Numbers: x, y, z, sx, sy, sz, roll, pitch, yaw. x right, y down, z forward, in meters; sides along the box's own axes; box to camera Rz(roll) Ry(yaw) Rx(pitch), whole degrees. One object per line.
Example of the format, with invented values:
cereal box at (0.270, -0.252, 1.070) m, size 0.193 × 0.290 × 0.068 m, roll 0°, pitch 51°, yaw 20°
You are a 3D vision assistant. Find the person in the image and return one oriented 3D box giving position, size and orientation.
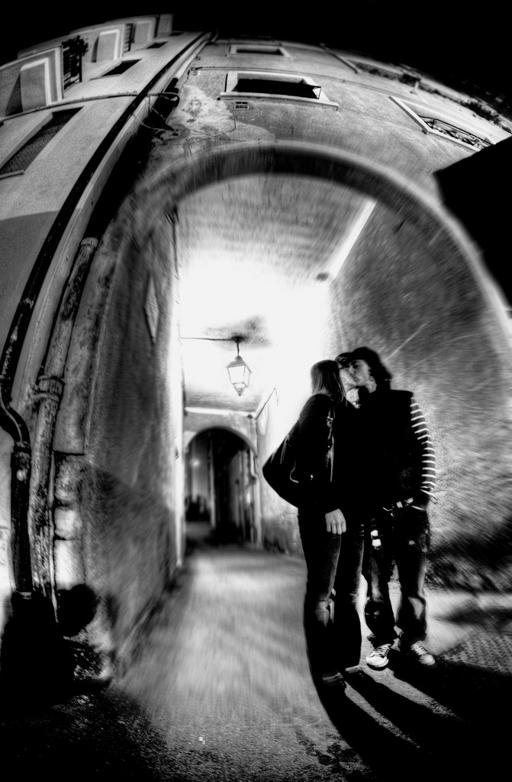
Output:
person at (0.557, 0.579, 2.750) m, size 0.940 × 1.860 × 0.467 m, roll 4°, pitch -12°, yaw -25°

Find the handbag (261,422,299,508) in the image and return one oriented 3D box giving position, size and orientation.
handbag at (0.158, 0.412, 2.673) m, size 0.144 × 0.362 × 0.335 m, roll 12°, pitch 0°, yaw -20°

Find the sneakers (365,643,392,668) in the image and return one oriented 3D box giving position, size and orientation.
sneakers at (0.668, 1.439, 2.605) m, size 0.122 × 0.117 × 0.103 m, roll -3°, pitch -12°, yaw 11°

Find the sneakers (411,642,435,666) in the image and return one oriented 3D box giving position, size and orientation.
sneakers at (0.886, 1.391, 2.561) m, size 0.124 × 0.103 × 0.049 m, roll 24°, pitch -39°, yaw -7°
